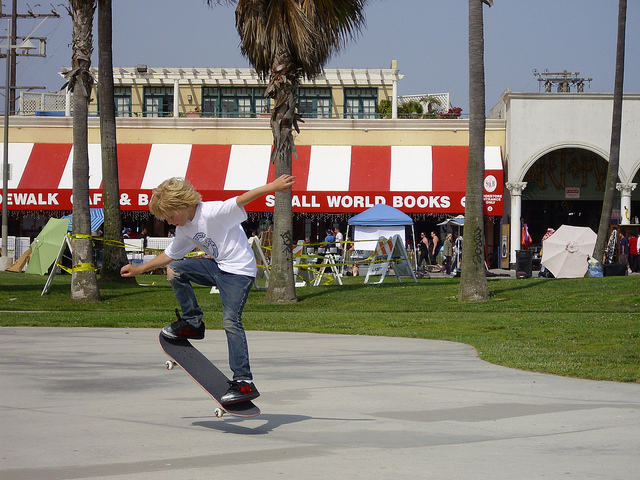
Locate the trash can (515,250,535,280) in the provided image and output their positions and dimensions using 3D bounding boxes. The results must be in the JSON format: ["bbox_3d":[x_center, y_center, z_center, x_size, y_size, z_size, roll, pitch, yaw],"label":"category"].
[{"bbox_3d":[6.532,0.791,38.263,0.833,1.232,0.835,0,-2,4],"label":"trash can"}]

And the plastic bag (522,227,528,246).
[{"bbox_3d":[7.714,-0.094,44.083,0.165,0.694,0.697,1,8,10],"label":"plastic bag"}]

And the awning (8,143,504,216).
[{"bbox_3d":[-2.208,-2.338,46.099,18.828,2.647,3.207,0,8,2],"label":"awning"}]

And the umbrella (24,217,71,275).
[{"bbox_3d":[-8.315,0.192,35.909,1.000,2.210,1.278,3,8,45],"label":"umbrella"}]

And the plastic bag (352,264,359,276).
[{"bbox_3d":[1.285,1.084,42.274,0.362,0.520,0.363,0,-5,1],"label":"plastic bag"}]

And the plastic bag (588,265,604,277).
[{"bbox_3d":[8.619,0.983,36.691,0.384,0.381,0.300,-4,5,0],"label":"plastic bag"}]
